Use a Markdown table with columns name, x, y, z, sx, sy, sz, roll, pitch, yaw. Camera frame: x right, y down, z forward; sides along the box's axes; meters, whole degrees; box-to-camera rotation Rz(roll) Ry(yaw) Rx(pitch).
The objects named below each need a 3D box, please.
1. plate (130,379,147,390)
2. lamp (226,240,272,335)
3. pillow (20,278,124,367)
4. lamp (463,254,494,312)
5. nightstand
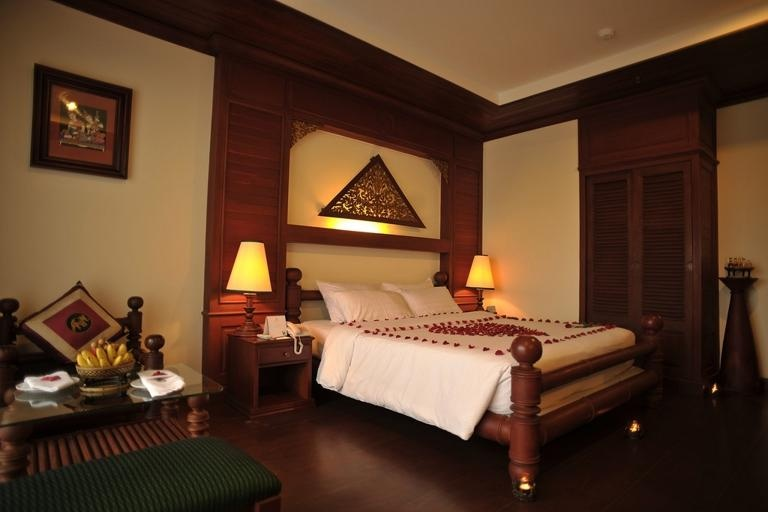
| name | x | y | z | sx | sy | sz | roll | pitch | yaw |
| --- | --- | --- | --- | --- | --- | --- | --- | --- | --- |
| plate | -1.739 | 0.914 | 3.583 | 0.083 | 0.020 | 0.085 | -1 | -3 | 42 |
| lamp | -1.336 | 0.299 | 4.979 | 0.411 | 0.883 | 0.394 | -3 | 12 | -17 |
| pillow | -2.656 | 0.562 | 4.400 | 0.792 | 0.810 | 0.174 | 4 | 17 | -23 |
| lamp | 1.326 | 0.377 | 6.932 | 0.440 | 0.752 | 0.439 | 2 | -1 | 13 |
| nightstand | -1.150 | 1.159 | 5.045 | 0.719 | 0.691 | 0.606 | 3 | -2 | -42 |
